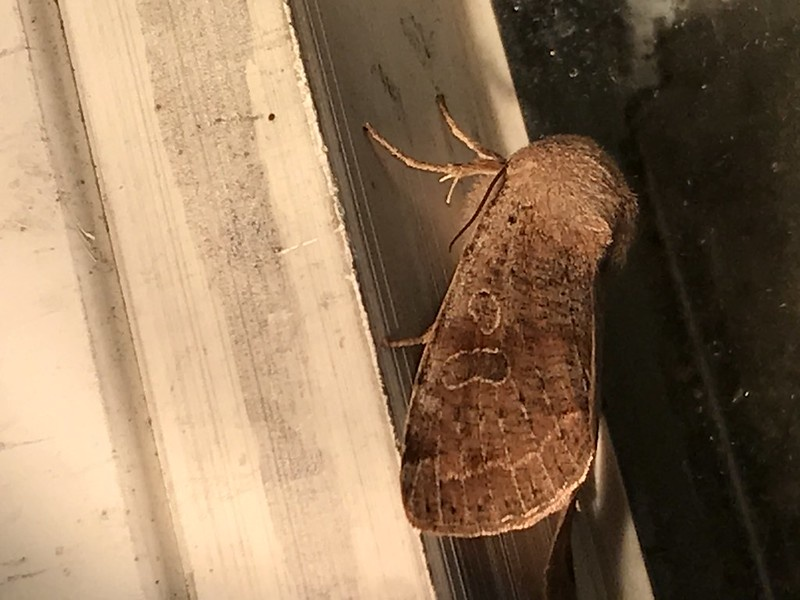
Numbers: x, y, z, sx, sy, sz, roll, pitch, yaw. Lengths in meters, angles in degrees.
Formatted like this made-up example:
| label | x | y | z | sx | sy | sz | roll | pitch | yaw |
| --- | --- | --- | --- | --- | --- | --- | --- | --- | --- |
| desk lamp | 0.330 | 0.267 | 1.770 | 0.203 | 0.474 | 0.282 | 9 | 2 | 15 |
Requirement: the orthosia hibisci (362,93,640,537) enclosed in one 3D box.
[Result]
| label | x | y | z | sx | sy | sz | roll | pitch | yaw |
| --- | --- | --- | --- | --- | --- | --- | --- | --- | --- |
| orthosia hibisci | 0.215 | 0.078 | 2.421 | 0.498 | 0.850 | 0.261 | 8 | -26 | 24 |
